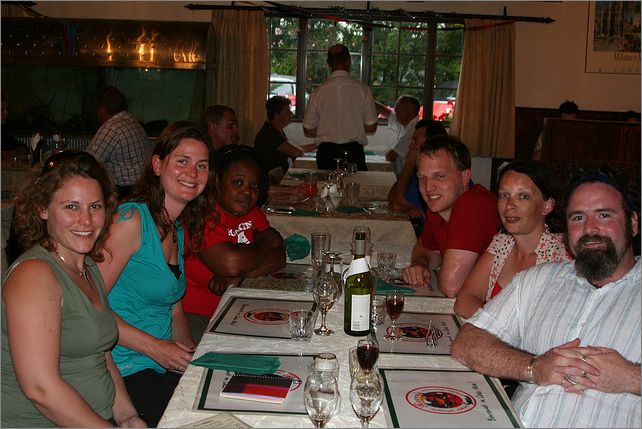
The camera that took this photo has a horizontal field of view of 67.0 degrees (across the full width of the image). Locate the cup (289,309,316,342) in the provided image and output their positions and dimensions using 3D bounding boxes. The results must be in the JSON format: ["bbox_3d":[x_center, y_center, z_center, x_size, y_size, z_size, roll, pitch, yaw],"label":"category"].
[{"bbox_3d":[-0.076,0.456,1.991,0.106,0.092,0.096,4,7,10],"label":"cup"}]

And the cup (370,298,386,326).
[{"bbox_3d":[0.253,0.431,2.162,0.091,0.104,0.091,0,2,0],"label":"cup"}]

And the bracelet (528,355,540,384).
[{"bbox_3d":[0.814,0.596,1.870,0.037,0.094,0.061,6,14,27],"label":"bracelet"}]

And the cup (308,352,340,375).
[{"bbox_3d":[0.018,0.502,1.675,0.074,0.073,0.075,3,2,0],"label":"cup"}]

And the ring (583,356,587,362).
[{"bbox_3d":[0.965,0.527,1.771,0.012,0.022,0.012,-3,3,0],"label":"ring"}]

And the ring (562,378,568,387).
[{"bbox_3d":[0.898,0.620,1.789,0.015,0.026,0.005,-4,13,-12],"label":"ring"}]

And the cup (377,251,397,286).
[{"bbox_3d":[0.359,0.288,2.680,0.129,0.145,0.122,1,8,0],"label":"cup"}]

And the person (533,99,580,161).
[{"bbox_3d":[3.247,-1.186,6.710,0.502,0.805,2.551,5,14,25],"label":"person"}]

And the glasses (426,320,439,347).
[{"bbox_3d":[0.462,0.500,2.017,0.059,0.158,0.067,1,12,17],"label":"glasses"}]

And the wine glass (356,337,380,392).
[{"bbox_3d":[0.148,0.525,1.697,0.097,0.168,0.109,1,11,2],"label":"wine glass"}]

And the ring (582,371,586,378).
[{"bbox_3d":[0.960,0.583,1.765,0.015,0.018,0.006,1,13,6],"label":"ring"}]
